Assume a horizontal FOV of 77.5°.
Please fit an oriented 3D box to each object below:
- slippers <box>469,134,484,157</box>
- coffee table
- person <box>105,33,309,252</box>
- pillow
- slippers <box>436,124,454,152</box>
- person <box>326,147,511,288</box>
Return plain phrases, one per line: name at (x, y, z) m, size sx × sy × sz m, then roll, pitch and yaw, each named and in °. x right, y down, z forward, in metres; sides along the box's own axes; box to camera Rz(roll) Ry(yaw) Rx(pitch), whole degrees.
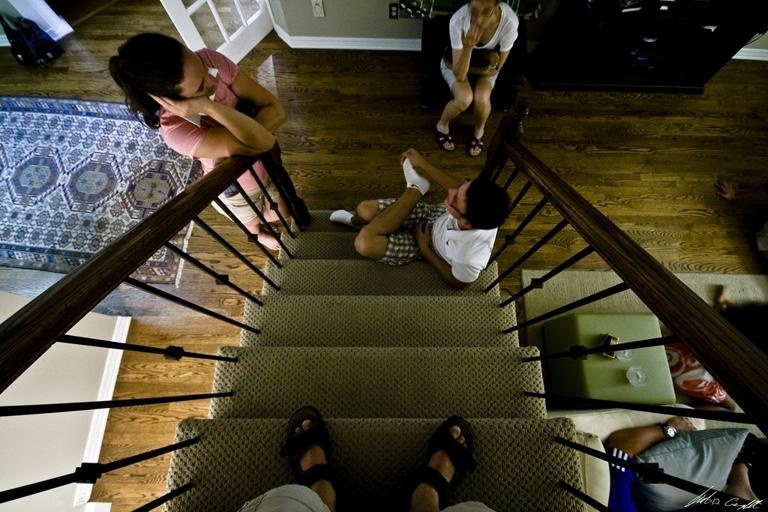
slippers at (0.849, -1.010, 4.437) m, size 0.125 × 0.092 × 0.196 m, roll 6°, pitch 93°, yaw 3°
coffee table at (1.706, 0.806, 3.895) m, size 1.008 × 0.823 × 0.683 m, roll -2°, pitch 78°, yaw 2°
person at (-1.071, -0.680, 3.572) m, size 0.851 × 1.854 × 0.596 m, roll -12°, pitch 61°, yaw 3°
pillow at (2.124, 1.420, 3.338) m, size 1.003 × 0.250 × 0.627 m, roll -6°, pitch 100°, yaw 3°
slippers at (0.565, -1.078, 4.464) m, size 0.132 × 0.086 × 0.288 m, roll -26°, pitch 87°, yaw 1°
person at (0.335, -0.258, 3.652) m, size 1.037 × 1.619 × 0.772 m, roll 12°, pitch 81°, yaw -11°
